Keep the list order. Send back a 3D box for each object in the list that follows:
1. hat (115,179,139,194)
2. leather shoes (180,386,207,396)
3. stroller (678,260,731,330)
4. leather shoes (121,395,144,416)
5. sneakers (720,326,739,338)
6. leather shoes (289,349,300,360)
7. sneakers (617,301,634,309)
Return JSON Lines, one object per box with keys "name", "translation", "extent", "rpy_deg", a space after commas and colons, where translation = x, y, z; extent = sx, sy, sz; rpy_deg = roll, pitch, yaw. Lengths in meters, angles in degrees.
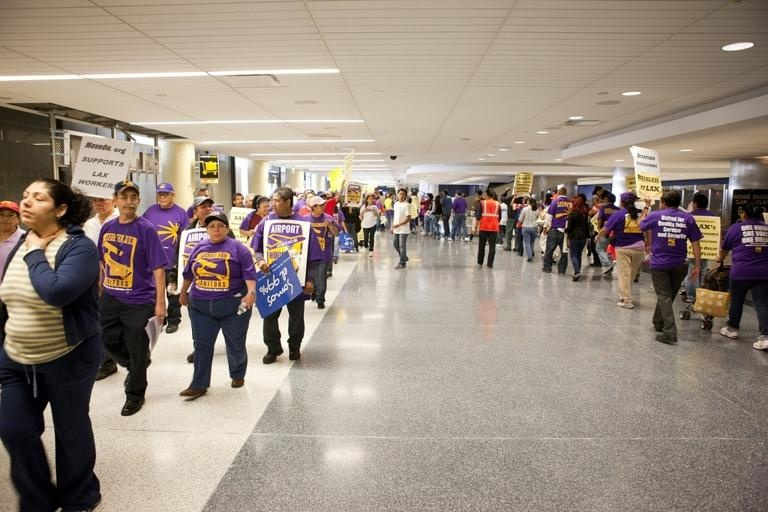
{"name": "hat", "translation": [-2.650, -0.722, 4.841], "extent": [0.218, 0.128, 0.278], "rpy_deg": [1, -15, -37]}
{"name": "leather shoes", "translation": [-2.023, 1.442, 5.052], "extent": [0.318, 0.116, 0.110], "rpy_deg": [8, -5, -33]}
{"name": "stroller", "translation": [5.460, 0.598, 7.741], "extent": [1.065, 1.057, 1.098], "rpy_deg": [4, 6, 35]}
{"name": "leather shoes", "translation": [-2.515, 1.496, 4.710], "extent": [0.111, 0.092, 0.245], "rpy_deg": [4, -3, -7]}
{"name": "sneakers", "translation": [5.191, 1.124, 7.110], "extent": [0.143, 0.117, 0.295], "rpy_deg": [-3, 11, 1]}
{"name": "leather shoes", "translation": [-1.151, 1.267, 6.061], "extent": [0.175, 0.132, 0.094], "rpy_deg": [1, 2, -3]}
{"name": "sneakers", "translation": [4.404, 0.886, 8.669], "extent": [0.292, 0.112, 0.113], "rpy_deg": [9, 12, 33]}
